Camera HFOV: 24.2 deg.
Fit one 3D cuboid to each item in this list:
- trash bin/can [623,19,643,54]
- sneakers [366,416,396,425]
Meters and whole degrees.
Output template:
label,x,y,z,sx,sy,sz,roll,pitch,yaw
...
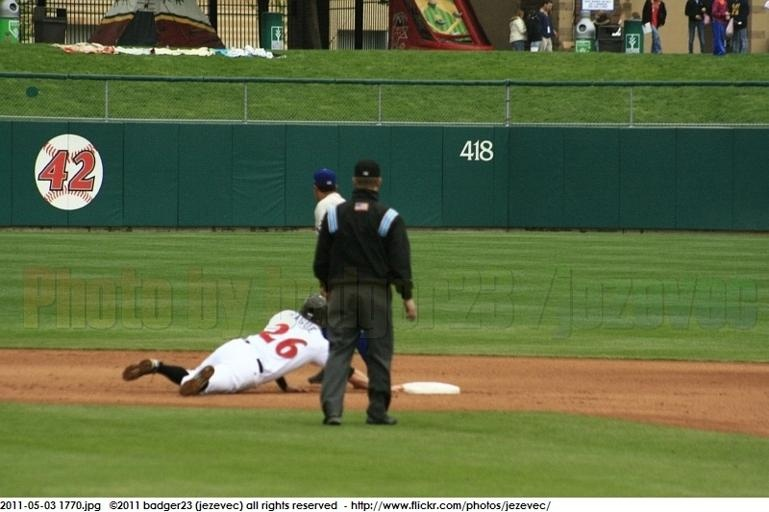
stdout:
label,x,y,z,sx,sy,sz,roll,pitch,yaw
trash bin/can,9.172,-8.011,65.386,0.682,1.178,0.475,0,3,14
sneakers,-0.046,3.830,40.798,0.673,0.263,0.234,0,1,-5
